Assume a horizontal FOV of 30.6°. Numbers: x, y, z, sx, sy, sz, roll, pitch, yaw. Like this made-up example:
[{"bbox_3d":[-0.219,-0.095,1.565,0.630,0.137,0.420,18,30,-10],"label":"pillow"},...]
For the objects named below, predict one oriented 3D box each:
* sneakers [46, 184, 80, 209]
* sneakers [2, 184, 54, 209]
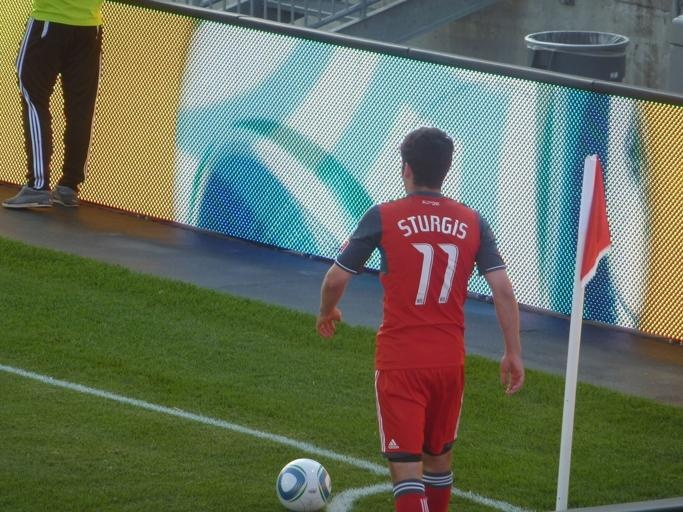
[{"bbox_3d":[-2.860,-0.582,12.364,0.140,0.146,0.344,3,-1,-32],"label":"sneakers"},{"bbox_3d":[-3.170,-0.554,12.094,0.502,0.213,0.182,-2,3,-18],"label":"sneakers"}]
